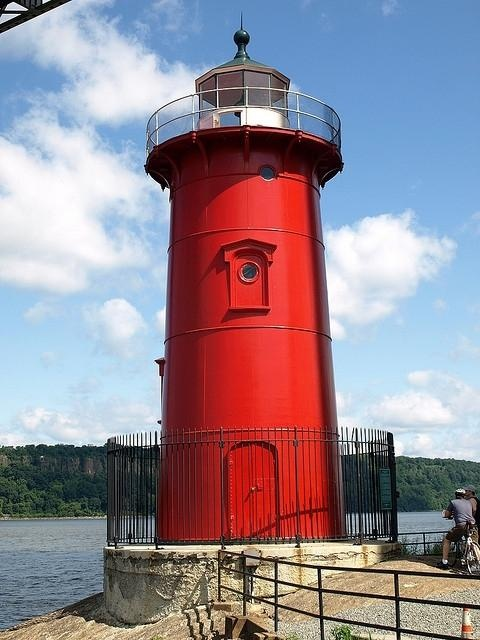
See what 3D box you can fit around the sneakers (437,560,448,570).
[{"bbox_3d":[3.371,4.090,12.002,0.086,0.181,0.255,2,-4,-3],"label":"sneakers"}]
